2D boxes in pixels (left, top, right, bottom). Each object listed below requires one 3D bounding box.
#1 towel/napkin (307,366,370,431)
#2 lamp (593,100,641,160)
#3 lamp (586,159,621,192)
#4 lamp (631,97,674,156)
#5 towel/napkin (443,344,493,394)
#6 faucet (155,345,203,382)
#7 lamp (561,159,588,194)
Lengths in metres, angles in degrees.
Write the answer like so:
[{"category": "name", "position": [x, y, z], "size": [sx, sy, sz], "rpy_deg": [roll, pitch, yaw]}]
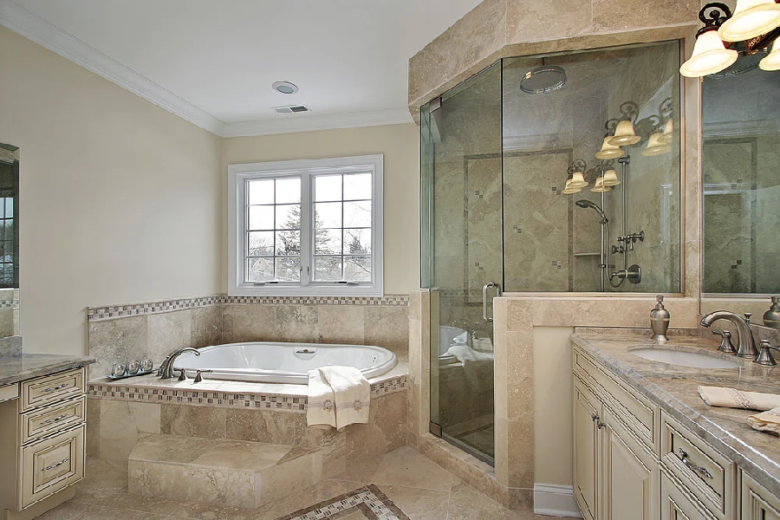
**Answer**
[{"category": "towel/napkin", "position": [-0.412, 1.058, 4.212], "size": [0.452, 0.215, 0.444], "rpy_deg": [1, -5, -12]}, {"category": "lamp", "position": [1.594, -0.890, 3.802], "size": [0.229, 0.370, 0.366], "rpy_deg": [6, -12, -28]}, {"category": "lamp", "position": [1.483, -0.574, 3.875], "size": [0.215, 0.207, 0.205], "rpy_deg": [0, -5, -5]}, {"category": "lamp", "position": [1.863, -0.882, 3.777], "size": [0.364, 0.440, 0.234], "rpy_deg": [2, 2, 31]}, {"category": "towel/napkin", "position": [0.604, 0.828, 4.155], "size": [0.318, 0.149, 0.247], "rpy_deg": [5, 0, 29]}, {"category": "faucet", "position": [-1.810, 0.872, 4.618], "size": [0.347, 0.251, 0.193], "rpy_deg": [-2, -1, -23]}, {"category": "lamp", "position": [1.305, -0.563, 3.838], "size": [0.246, 0.234, 0.199], "rpy_deg": [-1, -1, 23]}]
